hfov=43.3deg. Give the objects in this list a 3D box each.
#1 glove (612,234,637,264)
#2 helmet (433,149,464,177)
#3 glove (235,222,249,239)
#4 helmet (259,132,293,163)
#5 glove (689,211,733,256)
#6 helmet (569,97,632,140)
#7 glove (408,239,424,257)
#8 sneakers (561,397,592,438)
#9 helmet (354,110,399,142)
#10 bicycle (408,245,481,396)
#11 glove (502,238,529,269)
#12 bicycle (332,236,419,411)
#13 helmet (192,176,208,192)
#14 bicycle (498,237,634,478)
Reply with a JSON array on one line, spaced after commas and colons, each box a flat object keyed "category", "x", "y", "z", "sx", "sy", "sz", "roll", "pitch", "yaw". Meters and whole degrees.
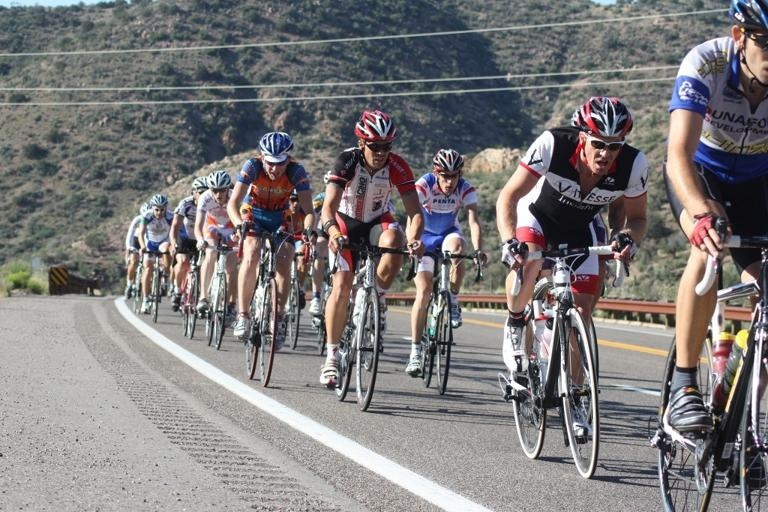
[{"category": "glove", "x": 2.247, "y": -0.051, "z": 9.049, "sx": 0.153, "sy": 0.177, "sz": 0.383, "roll": -10, "pitch": -40, "yaw": 2}, {"category": "helmet", "x": 0.855, "y": -1.333, "z": 13.165, "sx": 0.270, "sy": 0.211, "sz": 0.432, "roll": 2, "pitch": 36, "yaw": -2}, {"category": "glove", "x": -1.773, "y": -0.327, "z": 12.166, "sx": 0.147, "sy": 0.215, "sz": 0.075, "roll": 1, "pitch": -31, "yaw": 36}, {"category": "helmet", "x": -1.382, "y": -1.432, "z": 12.359, "sx": 0.327, "sy": 0.298, "sz": 0.450, "roll": 1, "pitch": 21, "yaw": -6}, {"category": "glove", "x": 2.506, "y": -0.195, "z": 7.415, "sx": 0.230, "sy": 0.162, "sz": 0.328, "roll": 11, "pitch": 2, "yaw": -5}, {"category": "helmet", "x": 2.100, "y": -1.336, "z": 9.301, "sx": 0.526, "sy": 0.355, "sz": 0.438, "roll": 2, "pitch": 1, "yaw": 9}, {"category": "glove", "x": 0.343, "y": -0.087, "z": 10.765, "sx": 0.161, "sy": 0.142, "sz": 0.162, "roll": 2, "pitch": 1, "yaw": 1}, {"category": "sneakers", "x": 1.766, "y": 1.467, "z": 8.801, "sx": 0.161, "sy": 0.325, "sz": 0.285, "roll": 1, "pitch": 1, "yaw": -28}, {"category": "helmet", "x": -0.101, "y": -1.452, "z": 10.816, "sx": 0.425, "sy": 0.268, "sz": 0.471, "roll": 2, "pitch": 2, "yaw": -5}, {"category": "bicycle", "x": 0.742, "y": 0.620, "z": 12.464, "sx": 0.962, "sy": 1.596, "sz": 2.529, "roll": 6, "pitch": 12, "yaw": 1}, {"category": "glove", "x": 1.220, "y": -0.031, "z": 9.058, "sx": 0.230, "sy": 0.225, "sz": 0.260, "roll": 2, "pitch": 1, "yaw": 7}, {"category": "bicycle", "x": -0.236, "y": 0.737, "z": 11.040, "sx": 0.763, "sy": 1.426, "sz": 1.401, "roll": 2, "pitch": 1, "yaw": -3}, {"category": "helmet", "x": -3.278, "y": -1.282, "z": 17.210, "sx": 0.235, "sy": 0.172, "sz": 0.403, "roll": -10, "pitch": 6, "yaw": -41}, {"category": "bicycle", "x": 1.662, "y": 0.925, "z": 9.056, "sx": 0.738, "sy": 1.901, "sz": 1.374, "roll": 1, "pitch": 1, "yaw": -17}]
